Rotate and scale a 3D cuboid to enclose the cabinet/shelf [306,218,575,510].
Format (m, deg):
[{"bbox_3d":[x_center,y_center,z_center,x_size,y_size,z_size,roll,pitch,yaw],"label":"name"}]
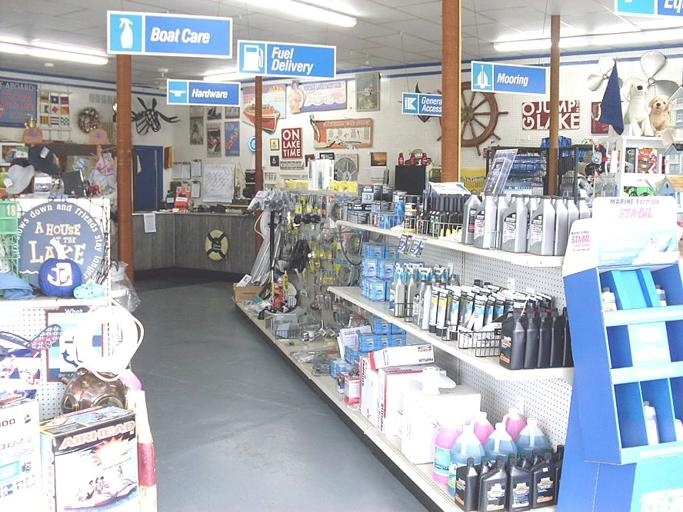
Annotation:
[{"bbox_3d":[0.697,0.787,3.624,0.574,1.576,1.765,0,8,-22],"label":"cabinet/shelf"}]

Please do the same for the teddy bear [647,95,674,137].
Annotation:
[{"bbox_3d":[3.735,-1.643,6.110,0.225,0.461,0.345,6,9,30],"label":"teddy bear"}]

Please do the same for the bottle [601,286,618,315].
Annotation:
[{"bbox_3d":[1.357,0.231,2.650,0.090,0.171,0.093,0,1,0],"label":"bottle"}]

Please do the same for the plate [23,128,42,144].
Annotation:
[{"bbox_3d":[-4.057,-1.581,6.838,0.163,0.190,0.323,-6,11,-39],"label":"plate"}]

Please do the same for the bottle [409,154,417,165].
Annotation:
[{"bbox_3d":[1.464,-2.008,10.718,0.209,0.269,0.566,2,9,8],"label":"bottle"}]

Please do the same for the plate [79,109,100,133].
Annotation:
[{"bbox_3d":[-6.160,-3.307,12.704,0.160,0.638,0.535,8,11,41],"label":"plate"}]

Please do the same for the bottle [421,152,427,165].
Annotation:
[{"bbox_3d":[1.718,-2.008,10.759,0.127,0.255,0.589,2,9,8],"label":"bottle"}]

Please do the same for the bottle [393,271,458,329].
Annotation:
[{"bbox_3d":[0.630,0.320,3.810,0.198,0.381,0.412,2,3,-25],"label":"bottle"}]
